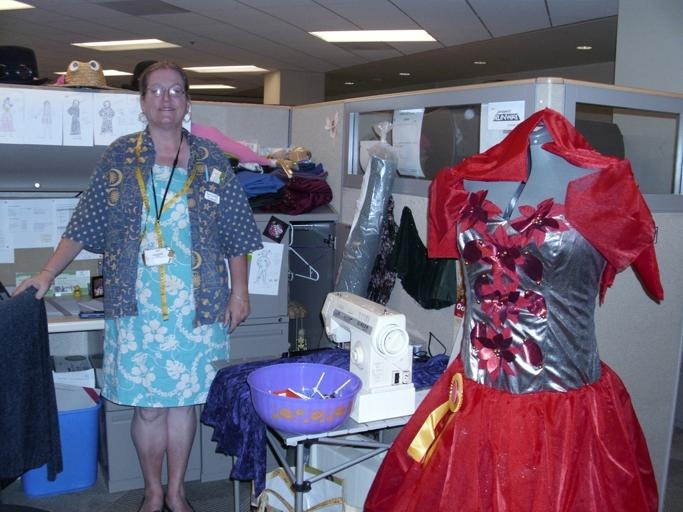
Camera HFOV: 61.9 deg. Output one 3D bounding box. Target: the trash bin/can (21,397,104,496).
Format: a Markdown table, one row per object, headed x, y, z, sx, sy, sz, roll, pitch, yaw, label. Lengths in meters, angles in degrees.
| x | y | z | sx | sy | sz | roll | pitch | yaw | label |
| --- | --- | --- | --- | --- | --- | --- | --- | --- | --- |
| -1.417 | 0.949 | 3.049 | 0.386 | 0.412 | 0.486 | -1 | 3 | -16 | trash bin/can |

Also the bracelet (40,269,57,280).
| x | y | z | sx | sy | sz | roll | pitch | yaw | label |
| --- | --- | --- | --- | --- | --- | --- | --- | --- | --- |
| -1.101 | 0.065 | 2.143 | 0.033 | 0.032 | 0.032 | 14 | 19 | 30 | bracelet |

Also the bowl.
| x | y | z | sx | sy | sz | roll | pitch | yaw | label |
| --- | --- | --- | --- | --- | --- | --- | --- | --- | --- |
| -0.086 | 0.492 | 1.857 | 0.329 | 0.143 | 0.334 | 1 | -7 | 0 | bowl |

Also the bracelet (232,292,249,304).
| x | y | z | sx | sy | sz | roll | pitch | yaw | label |
| --- | --- | --- | --- | --- | --- | --- | --- | --- | --- |
| -0.416 | 0.172 | 2.379 | 0.047 | 0.019 | 0.043 | 29 | 11 | 23 | bracelet |

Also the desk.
| x | y | z | sx | sy | sz | roll | pitch | yaw | label |
| --- | --- | --- | --- | --- | --- | --- | --- | --- | --- |
| -0.086 | 0.617 | 2.249 | 0.771 | 0.210 | 0.475 | -4 | 10 | -30 | desk |
